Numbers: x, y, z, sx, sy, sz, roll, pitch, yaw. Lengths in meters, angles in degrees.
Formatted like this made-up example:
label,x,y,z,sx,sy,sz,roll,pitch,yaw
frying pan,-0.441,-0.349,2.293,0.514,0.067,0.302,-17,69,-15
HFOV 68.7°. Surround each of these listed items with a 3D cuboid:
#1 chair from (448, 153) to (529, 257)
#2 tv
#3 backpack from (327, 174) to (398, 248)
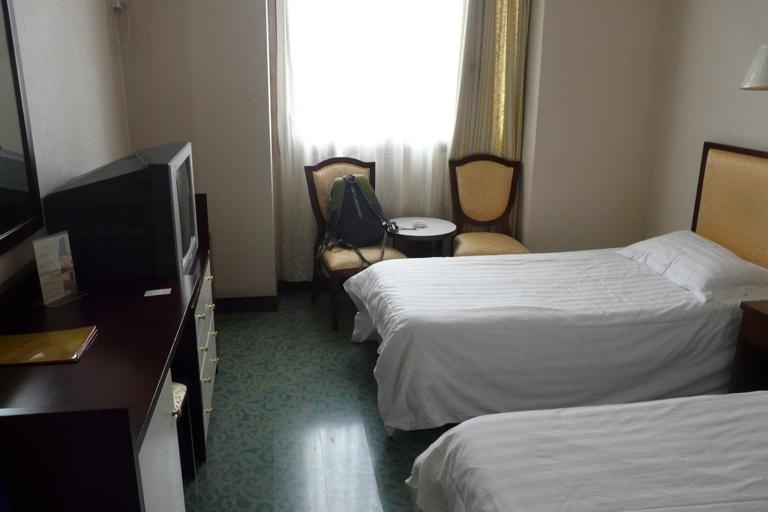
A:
label,x,y,z,sx,sy,sz,roll,pitch,yaw
chair,0.790,-0.207,4.998,0.722,1.128,0.787,0,-6,7
tv,-1.250,-0.222,2.909,0.633,0.510,0.656,-2,23,-9
backpack,-0.187,-0.350,4.426,0.506,0.576,0.311,-5,-8,-15
